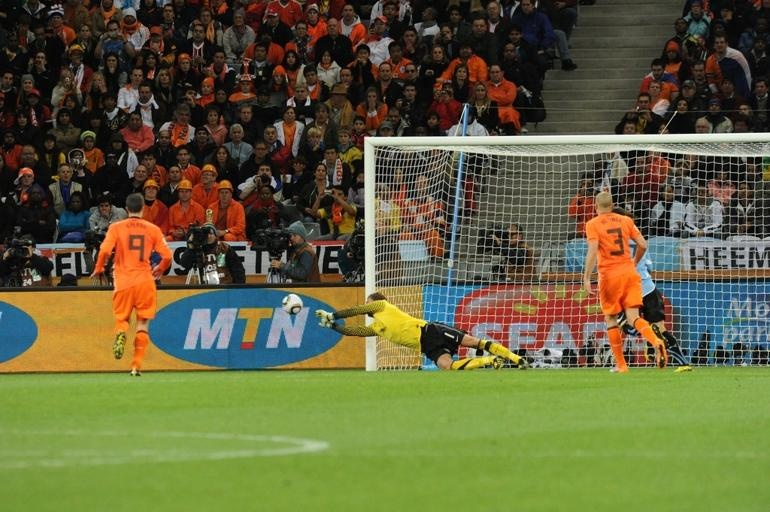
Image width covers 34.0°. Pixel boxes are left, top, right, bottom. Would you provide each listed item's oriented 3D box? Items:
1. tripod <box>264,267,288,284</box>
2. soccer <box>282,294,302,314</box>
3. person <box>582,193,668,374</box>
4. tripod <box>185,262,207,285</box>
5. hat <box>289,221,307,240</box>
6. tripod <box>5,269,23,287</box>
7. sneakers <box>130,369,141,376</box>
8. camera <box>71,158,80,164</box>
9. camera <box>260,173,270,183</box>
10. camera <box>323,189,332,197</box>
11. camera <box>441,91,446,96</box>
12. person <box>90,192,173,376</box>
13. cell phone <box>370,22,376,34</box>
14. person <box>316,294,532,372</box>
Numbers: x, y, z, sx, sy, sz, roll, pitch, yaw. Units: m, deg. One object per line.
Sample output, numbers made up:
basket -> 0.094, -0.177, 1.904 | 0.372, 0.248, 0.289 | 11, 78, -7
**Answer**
tripod -> -1.992, 0.368, 23.469 | 0.332, 0.388, 0.322 | 2, 5, 22
soccer -> -1.585, 0.813, 21.785 | 0.311, 0.304, 0.436 | 0, 1, -5
person -> 3.879, 0.443, 20.568 | 1.233, 2.981, 0.791 | 0, 1, 9
tripod -> -3.453, 0.310, 23.436 | 0.463, 0.529, 0.430 | -2, 12, -8
hat -> -1.576, -0.483, 23.316 | 0.272, 0.258, 0.369 | 6, -12, 23
tripod -> -6.908, 0.411, 23.488 | 0.371, 0.253, 0.089 | 0, 1, 11
sneakers -> -4.150, 1.962, 21.168 | 0.173, 0.108, 0.157 | 8, 14, 33
camera -> -6.250, -1.926, 25.616 | 0.173, 0.102, 0.037 | 3, 7, -2
camera -> -2.335, -1.528, 24.873 | 0.181, 0.125, 0.147 | 4, -3, 0
camera -> -1.078, -1.237, 24.559 | 0.161, 0.125, 0.226 | 0, 1, -3
camera -> 1.193, -3.297, 25.567 | 0.082, 0.100, 0.028 | 12, -17, 4
person -> -4.108, 0.471, 20.865 | 1.119, 3.005, 0.734 | -1, 1, -26
cell phone -> -0.246, -4.996, 27.617 | 0.052, 0.165, 0.182 | 3, -5, -29
person -> 0.621, 1.365, 22.067 | 3.242, 1.032, 0.691 | 6, -31, 12
